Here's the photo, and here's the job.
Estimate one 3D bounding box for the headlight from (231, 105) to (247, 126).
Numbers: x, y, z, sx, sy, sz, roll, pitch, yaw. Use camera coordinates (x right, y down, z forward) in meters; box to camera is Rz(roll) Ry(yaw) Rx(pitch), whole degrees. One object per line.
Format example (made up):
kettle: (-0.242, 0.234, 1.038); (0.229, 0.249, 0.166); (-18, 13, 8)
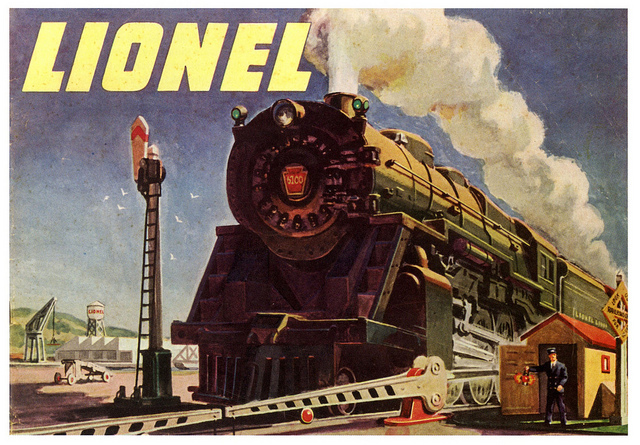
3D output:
headlight: (-1.597, -2.128, 17.724); (0.375, 0.487, 0.336); (0, -4, 10)
